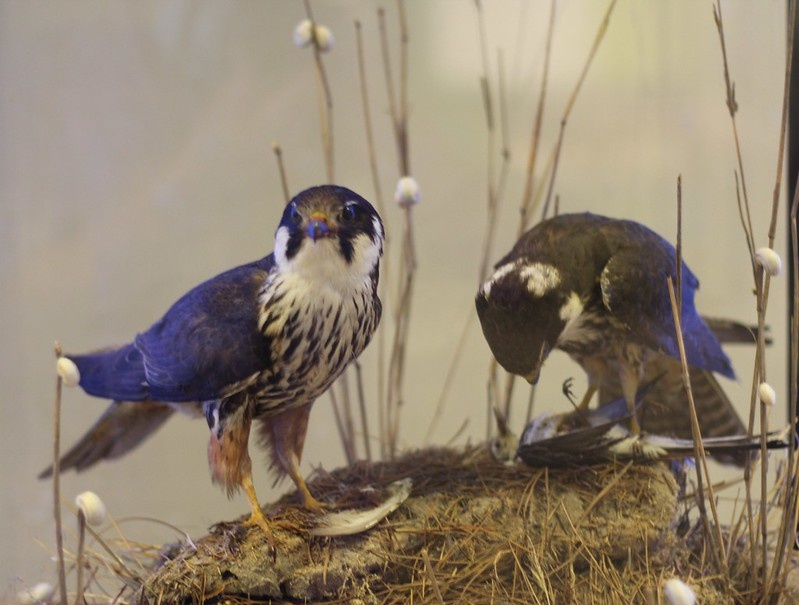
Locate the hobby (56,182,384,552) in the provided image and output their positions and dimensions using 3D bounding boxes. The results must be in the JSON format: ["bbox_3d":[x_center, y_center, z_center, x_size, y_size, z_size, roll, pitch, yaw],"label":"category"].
[{"bbox_3d":[-0.337,0.071,3.129,0.657,0.762,0.335,15,19,31],"label":"hobby"}]

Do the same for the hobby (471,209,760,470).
[{"bbox_3d":[0.466,0.037,3.249,0.695,0.503,0.445,-4,9,-40],"label":"hobby"}]
